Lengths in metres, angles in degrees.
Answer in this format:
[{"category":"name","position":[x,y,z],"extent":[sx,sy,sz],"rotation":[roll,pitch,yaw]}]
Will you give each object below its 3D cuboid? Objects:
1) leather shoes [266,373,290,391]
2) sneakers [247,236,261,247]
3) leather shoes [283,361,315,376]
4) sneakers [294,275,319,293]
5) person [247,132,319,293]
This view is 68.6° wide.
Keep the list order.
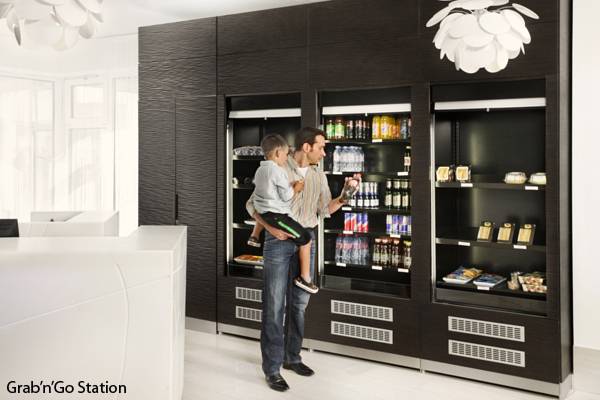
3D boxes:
[{"category":"leather shoes","position":[-0.214,1.702,4.119],"extent":[0.103,0.084,0.236],"rotation":[3,-3,-40]},{"category":"sneakers","position":[-0.516,0.446,4.775],"extent":[0.118,0.108,0.261],"rotation":[13,-2,4]},{"category":"leather shoes","position":[-0.003,1.677,4.450],"extent":[0.330,0.107,0.114],"rotation":[1,-2,29]},{"category":"sneakers","position":[0.053,0.815,4.293],"extent":[0.304,0.112,0.109],"rotation":[27,0,-19]},{"category":"person","position":[-0.166,0.141,4.209],"extent":[0.568,1.510,0.366],"rotation":[-3,11,-8]}]
